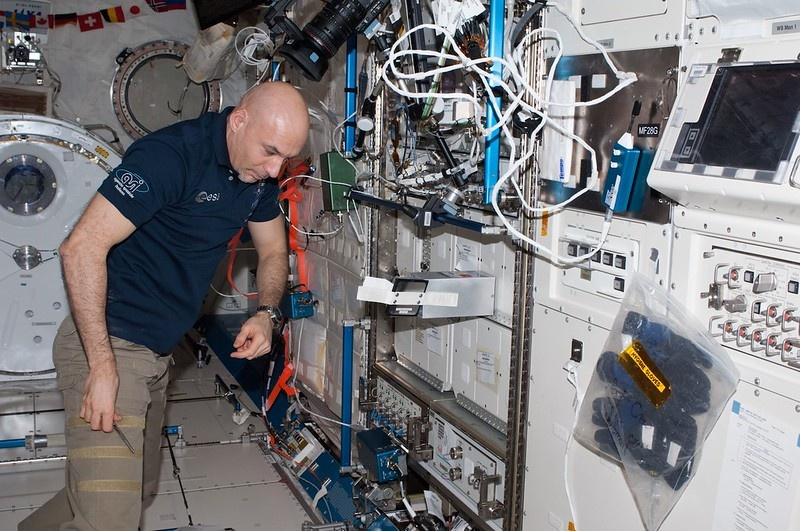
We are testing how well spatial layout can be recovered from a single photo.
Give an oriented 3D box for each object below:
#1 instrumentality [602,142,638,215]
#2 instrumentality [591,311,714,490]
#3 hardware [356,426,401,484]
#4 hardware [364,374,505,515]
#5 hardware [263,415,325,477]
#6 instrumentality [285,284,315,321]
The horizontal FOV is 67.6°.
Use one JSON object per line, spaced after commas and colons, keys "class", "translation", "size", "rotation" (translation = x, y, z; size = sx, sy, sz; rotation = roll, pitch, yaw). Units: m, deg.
{"class": "instrumentality", "translation": [1.032, -0.408, 2.823], "size": [0.080, 0.288, 0.147], "rotation": [5, 13, -12]}
{"class": "instrumentality", "translation": [1.183, 0.620, 2.741], "size": [0.110, 0.809, 0.592], "rotation": [-7, 28, -37]}
{"class": "hardware", "translation": [-0.158, 1.356, 4.237], "size": [0.178, 0.242, 0.342], "rotation": [-13, 13, -28]}
{"class": "hardware", "translation": [0.250, 1.238, 4.048], "size": [0.202, 0.260, 1.054], "rotation": [-1, 17, -28]}
{"class": "hardware", "translation": [-1.012, 1.741, 5.572], "size": [0.180, 0.669, 0.596], "rotation": [-33, -50, 27]}
{"class": "instrumentality", "translation": [-0.985, 0.321, 5.671], "size": [0.177, 0.334, 0.314], "rotation": [-15, 27, -35]}
